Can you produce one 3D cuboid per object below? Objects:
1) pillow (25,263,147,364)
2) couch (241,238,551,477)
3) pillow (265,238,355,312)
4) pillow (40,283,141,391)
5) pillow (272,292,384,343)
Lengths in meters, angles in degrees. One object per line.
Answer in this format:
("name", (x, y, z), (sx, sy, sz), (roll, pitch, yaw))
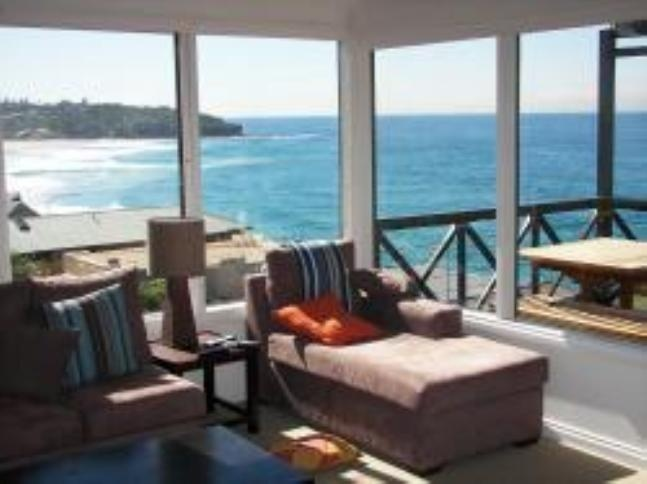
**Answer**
("pillow", (-0.910, 0.314, 2.122), (0.401, 0.402, 0.120), (-9, -13, -39))
("couch", (0.267, 0.450, 2.313), (0.724, 0.741, 1.272), (-3, 3, -34))
("pillow", (-0.051, 0.146, 2.350), (0.389, 0.367, 0.114), (-9, 26, -10))
("pillow", (-0.967, 0.381, 2.095), (0.467, 0.486, 0.121), (10, -13, -40))
("pillow", (0.017, 0.384, 2.390), (0.269, 0.088, 0.294), (12, 14, 24))
